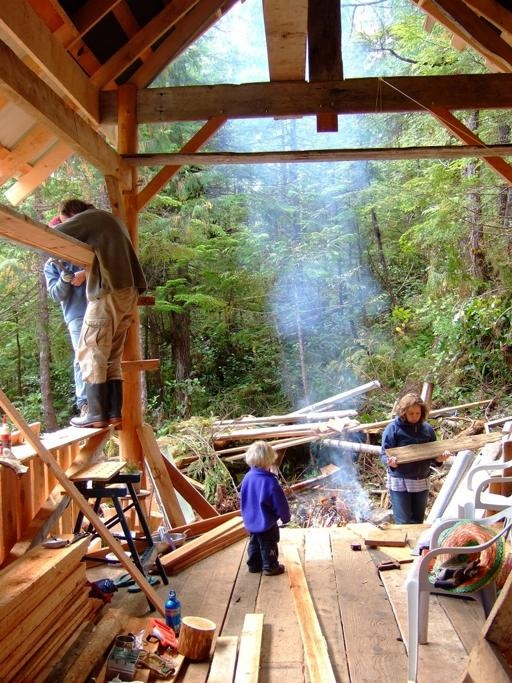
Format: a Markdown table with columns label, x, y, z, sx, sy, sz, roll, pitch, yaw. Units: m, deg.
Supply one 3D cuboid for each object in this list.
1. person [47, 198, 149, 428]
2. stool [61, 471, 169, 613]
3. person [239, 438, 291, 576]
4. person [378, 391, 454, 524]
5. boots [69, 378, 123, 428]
| label | x | y | z | sx | sy | sz | roll | pitch | yaw |
| --- | --- | --- | --- | --- | --- | --- | --- | --- | --- |
| person | -1.083 | -0.158 | 3.285 | 0.522 | 1.465 | 0.306 | 1 | -3 | -26 |
| stool | -0.862 | 1.082 | 2.980 | 0.443 | 0.565 | 0.418 | 3 | -7 | 3 |
| person | 0.047 | 1.128 | 3.199 | 0.307 | 0.878 | 0.459 | 0 | -3 | -2 |
| person | 1.308 | 1.013 | 4.081 | 0.480 | 1.137 | 0.607 | -1 | -3 | 15 |
| boots | -1.021 | 0.416 | 3.260 | 0.361 | 0.319 | 0.276 | 1 | -1 | 20 |
